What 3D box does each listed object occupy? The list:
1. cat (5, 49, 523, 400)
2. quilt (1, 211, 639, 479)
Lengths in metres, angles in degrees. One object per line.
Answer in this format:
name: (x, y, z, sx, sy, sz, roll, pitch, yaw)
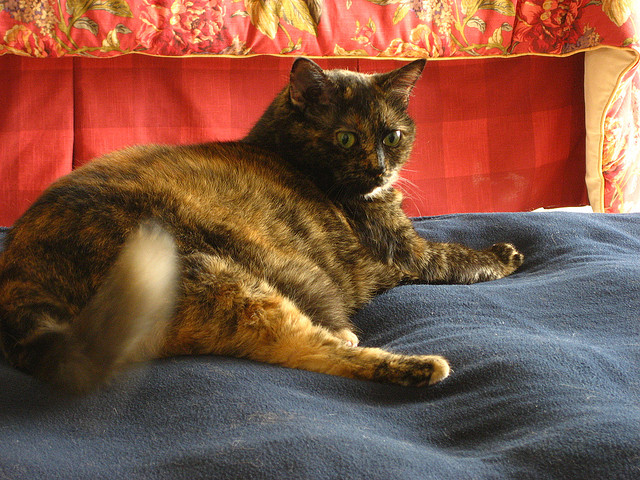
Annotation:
cat: (-0.050, -0.074, 1.649, 1.266, 0.556, 0.775, -14, 22, -42)
quilt: (0.013, 0.148, 1.414, 1.079, 0.547, 0.707, -5, 9, -33)
